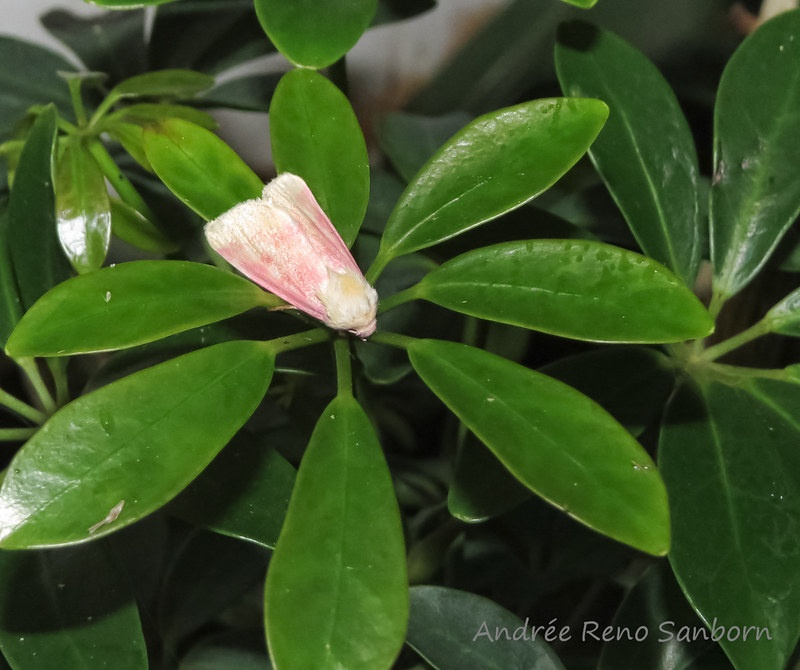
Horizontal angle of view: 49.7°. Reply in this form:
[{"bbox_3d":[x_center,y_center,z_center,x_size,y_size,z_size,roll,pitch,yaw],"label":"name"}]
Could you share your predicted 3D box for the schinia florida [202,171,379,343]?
[{"bbox_3d":[-0.091,-0.082,0.708,0.125,0.180,0.067,-35,78,25],"label":"schinia florida"}]
